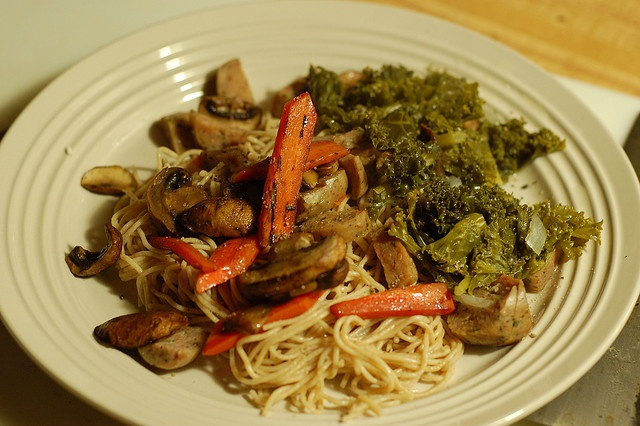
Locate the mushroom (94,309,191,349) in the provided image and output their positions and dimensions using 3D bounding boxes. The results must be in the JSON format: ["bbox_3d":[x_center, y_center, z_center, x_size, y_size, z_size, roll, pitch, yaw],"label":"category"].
[{"bbox_3d":[-1.400,0.917,4.604,0.719,0.271,0.190,-13,-7,-4],"label":"mushroom"}]

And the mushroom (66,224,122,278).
[{"bbox_3d":[-1.831,0.352,4.793,0.380,0.461,0.136,38,-20,-3],"label":"mushroom"}]

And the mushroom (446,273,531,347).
[{"bbox_3d":[1.320,0.788,4.896,0.687,0.340,0.733,-36,21,-18],"label":"mushroom"}]

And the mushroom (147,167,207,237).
[{"bbox_3d":[-1.207,-0.162,4.896,0.491,0.561,0.403,19,26,40],"label":"mushroom"}]

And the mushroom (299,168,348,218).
[{"bbox_3d":[-0.019,-0.195,4.913,0.467,0.363,0.292,-11,14,-31],"label":"mushroom"}]

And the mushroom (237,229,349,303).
[{"bbox_3d":[-0.193,0.401,4.527,0.687,0.212,0.518,-29,16,20],"label":"mushroom"}]

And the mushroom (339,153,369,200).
[{"bbox_3d":[0.294,-0.323,5.090,0.290,0.338,0.244,-2,20,3],"label":"mushroom"}]

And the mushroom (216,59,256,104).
[{"bbox_3d":[-0.841,-1.288,5.698,0.258,0.426,0.381,17,28,39],"label":"mushroom"}]

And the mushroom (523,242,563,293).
[{"bbox_3d":[1.851,0.455,5.057,0.391,0.363,0.413,-3,19,7],"label":"mushroom"}]

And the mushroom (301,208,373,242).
[{"bbox_3d":[0.121,0.095,4.765,0.450,0.134,0.379,-12,19,-43],"label":"mushroom"}]
